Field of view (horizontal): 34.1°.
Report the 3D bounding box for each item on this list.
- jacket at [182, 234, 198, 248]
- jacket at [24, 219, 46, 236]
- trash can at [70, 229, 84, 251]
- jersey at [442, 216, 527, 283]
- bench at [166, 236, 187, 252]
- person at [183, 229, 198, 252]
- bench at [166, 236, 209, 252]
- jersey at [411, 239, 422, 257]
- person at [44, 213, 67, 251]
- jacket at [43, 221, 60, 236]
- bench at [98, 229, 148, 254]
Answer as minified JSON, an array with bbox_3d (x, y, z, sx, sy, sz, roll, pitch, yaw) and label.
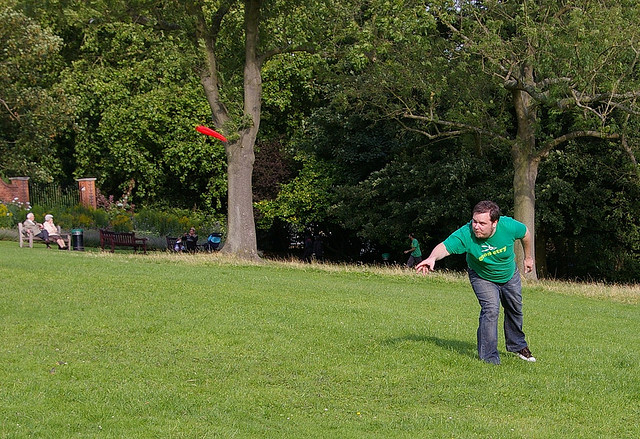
[{"bbox_3d":[-5.567,0.936,44.928,0.669,0.843,0.473,1,-14,-18],"label":"jacket"},{"bbox_3d":[-11.424,0.308,41.514,0.725,0.646,0.775,2,-3,-24],"label":"jacket"},{"bbox_3d":[-9.940,0.797,42.702,0.499,0.863,0.525,2,-3,-17],"label":"trash can"},{"bbox_3d":[4.427,0.764,27.145,1.932,1.710,0.674,1,-3,7],"label":"jersey"},{"bbox_3d":[-6.294,1.023,45.361,0.558,0.589,0.937,1,-4,-9],"label":"bench"},{"bbox_3d":[-5.587,0.861,44.724,0.592,0.987,1.622,1,-3,-7],"label":"person"},{"bbox_3d":[-6.010,1.030,45.507,1.401,0.859,0.789,-2,-3,31],"label":"bench"},{"bbox_3d":[3.967,1.162,43.622,0.543,0.950,0.884,-1,2,12],"label":"jersey"},{"bbox_3d":[-10.638,0.452,41.794,0.877,1.447,1.894,2,-3,-15],"label":"person"},{"bbox_3d":[-10.755,0.352,41.562,0.243,0.574,0.431,-18,-8,9],"label":"jacket"},{"bbox_3d":[-8.252,0.898,42.772,1.615,0.927,2.405,3,-4,-33],"label":"bench"}]
